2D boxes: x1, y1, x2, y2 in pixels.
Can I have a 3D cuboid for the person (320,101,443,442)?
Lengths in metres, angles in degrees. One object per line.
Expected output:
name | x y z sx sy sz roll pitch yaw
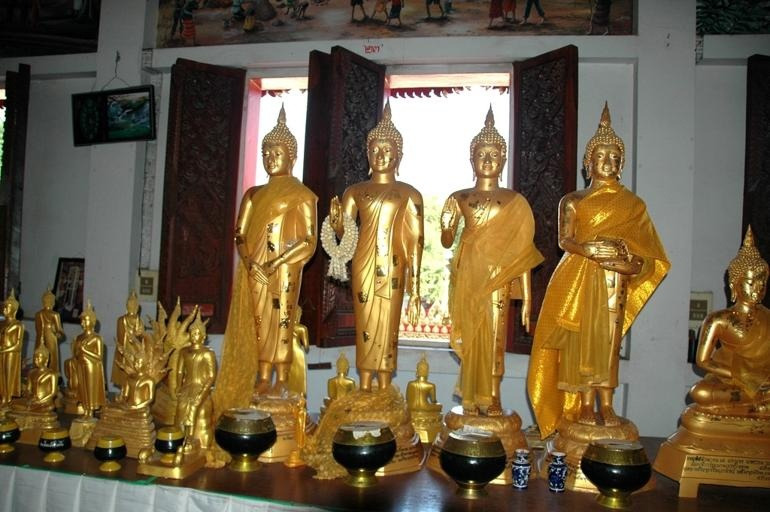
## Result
person | -0.118 0.254 6.718 0.810 1.726 0.369 2 -3 1

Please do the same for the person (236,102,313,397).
person | -0.899 -0.071 6.852 0.638 2.354 0.294 3 -3 -10

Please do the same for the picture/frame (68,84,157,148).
picture/frame | -2.821 -1.446 8.712 1.029 0.563 0.099 -1 0 23

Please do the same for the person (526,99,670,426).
person | 1.651 0.110 6.569 1.006 2.665 0.374 2 -3 8

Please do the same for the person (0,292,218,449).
person | -2.067 0.943 6.747 1.619 1.147 1.110 2 -3 11
